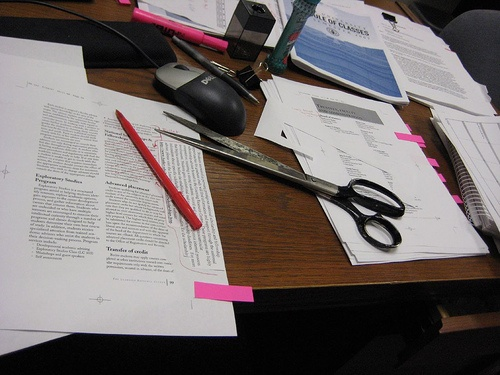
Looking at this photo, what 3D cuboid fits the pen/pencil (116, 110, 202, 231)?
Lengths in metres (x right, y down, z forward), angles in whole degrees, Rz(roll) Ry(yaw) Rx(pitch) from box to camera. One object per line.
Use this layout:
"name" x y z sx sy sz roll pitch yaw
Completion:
"pen/pencil" -0.146 -0.021 0.619 0.021 0.023 0.243 -30 70 -26

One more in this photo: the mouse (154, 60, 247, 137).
"mouse" -0.103 -0.182 0.767 0.076 0.121 0.215 -42 51 -17

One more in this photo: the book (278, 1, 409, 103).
"book" 0.224 -0.328 0.984 0.348 0.220 0.247 29 30 16
